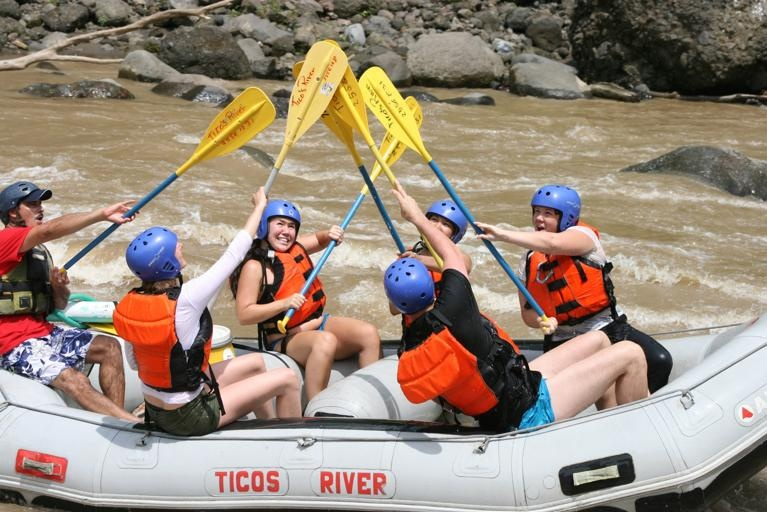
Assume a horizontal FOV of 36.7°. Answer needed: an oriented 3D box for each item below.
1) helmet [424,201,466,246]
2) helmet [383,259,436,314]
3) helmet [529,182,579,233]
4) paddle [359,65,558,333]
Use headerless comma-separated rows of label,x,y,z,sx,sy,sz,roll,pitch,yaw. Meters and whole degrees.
helmet,0.832,-0.455,14.294,0.441,0.535,0.490,34,69,19
helmet,0.298,0.336,12.768,0.573,0.575,0.353,7,25,-1
helmet,2.057,-0.594,13.534,0.665,0.455,0.457,5,-2,-25
paddle,0.757,-1.064,15.703,0.805,0.224,5.634,20,-12,22
